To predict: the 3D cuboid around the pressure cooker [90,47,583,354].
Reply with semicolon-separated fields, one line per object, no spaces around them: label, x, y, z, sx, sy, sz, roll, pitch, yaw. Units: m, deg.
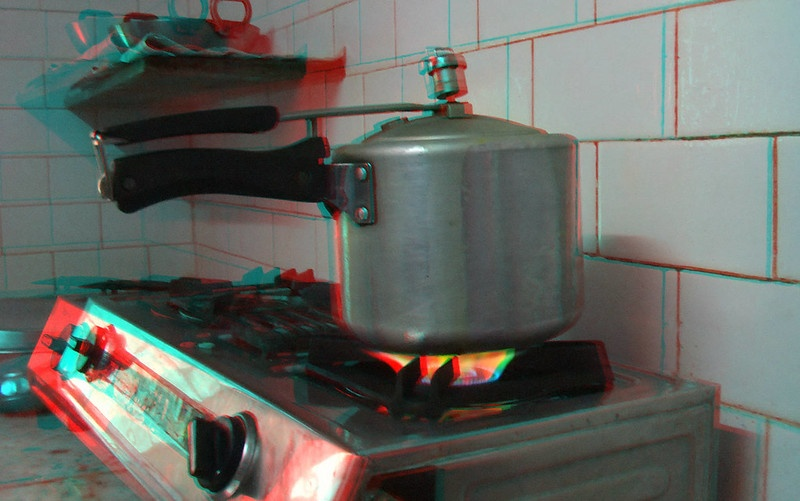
pressure cooker;-0.084;-0.057;0.941;0.693;0.371;0.332;-6;11;-21
